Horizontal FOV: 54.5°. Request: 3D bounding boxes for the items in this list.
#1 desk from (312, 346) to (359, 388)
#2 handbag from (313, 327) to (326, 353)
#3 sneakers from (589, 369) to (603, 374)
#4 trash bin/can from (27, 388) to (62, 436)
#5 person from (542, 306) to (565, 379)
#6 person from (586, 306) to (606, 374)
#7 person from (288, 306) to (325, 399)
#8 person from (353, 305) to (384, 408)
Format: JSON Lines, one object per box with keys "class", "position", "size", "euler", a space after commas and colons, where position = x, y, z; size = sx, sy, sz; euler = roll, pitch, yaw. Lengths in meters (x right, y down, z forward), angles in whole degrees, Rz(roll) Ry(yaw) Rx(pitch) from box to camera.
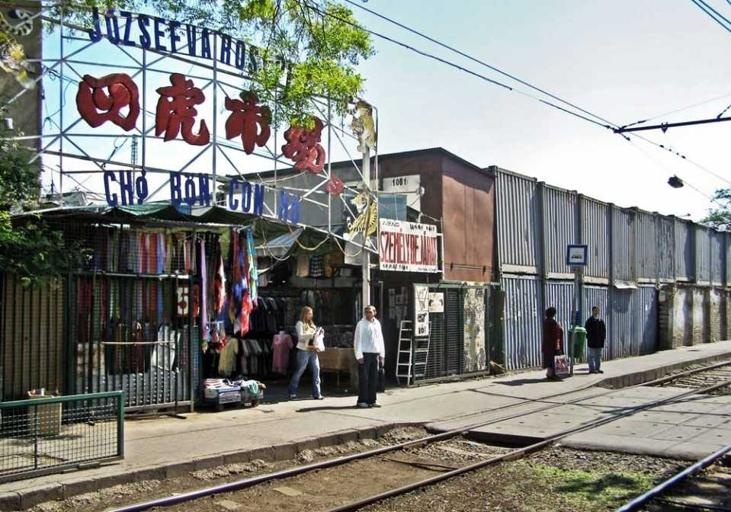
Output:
{"class": "desk", "position": [-0.772, 2.959, 18.502], "size": [0.674, 0.937, 1.201], "euler": [9, -10, -35]}
{"class": "handbag", "position": [-1.144, 1.999, 16.853], "size": [0.258, 0.578, 0.638], "euler": [0, -8, 1]}
{"class": "sneakers", "position": [7.200, 3.659, 22.171], "size": [0.441, 0.203, 0.166], "euler": [0, -1, 1]}
{"class": "trash bin/can", "position": [-5.085, 2.494, 11.174], "size": [0.566, 0.813, 0.568], "euler": [-3, -2, 42]}
{"class": "person", "position": [5.358, 2.558, 20.434], "size": [0.521, 2.048, 0.763], "euler": [-2, -7, 14]}
{"class": "person", "position": [7.327, 2.706, 22.646], "size": [0.568, 2.083, 1.060], "euler": [-2, -8, 17]}
{"class": "person", "position": [-1.410, 2.313, 16.806], "size": [0.792, 2.197, 0.692], "euler": [1, -7, -9]}
{"class": "person", "position": [0.065, 2.304, 16.160], "size": [0.631, 2.269, 0.857], "euler": [0, -7, 1]}
